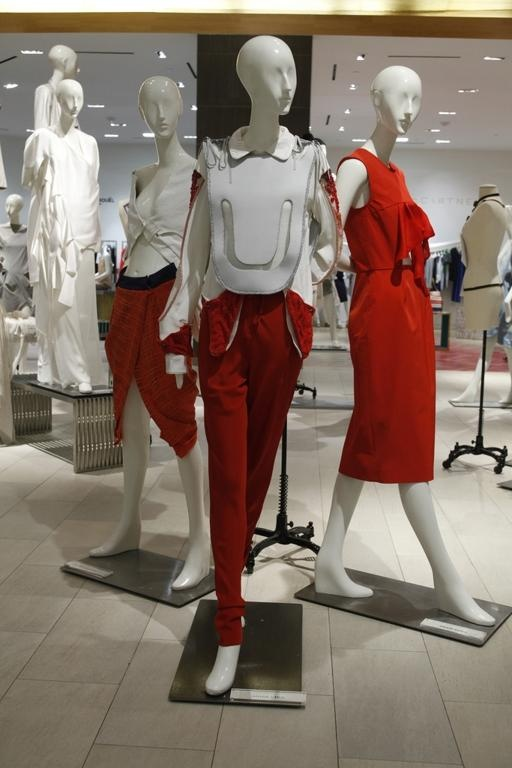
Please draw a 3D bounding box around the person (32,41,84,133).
[{"bbox_3d":[-1.499,-2.137,3.976,0.206,0.787,0.380,9,7,9],"label":"person"}]

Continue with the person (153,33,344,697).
[{"bbox_3d":[-0.024,-0.034,1.218,0.430,1.006,0.312,0,0,21],"label":"person"}]
